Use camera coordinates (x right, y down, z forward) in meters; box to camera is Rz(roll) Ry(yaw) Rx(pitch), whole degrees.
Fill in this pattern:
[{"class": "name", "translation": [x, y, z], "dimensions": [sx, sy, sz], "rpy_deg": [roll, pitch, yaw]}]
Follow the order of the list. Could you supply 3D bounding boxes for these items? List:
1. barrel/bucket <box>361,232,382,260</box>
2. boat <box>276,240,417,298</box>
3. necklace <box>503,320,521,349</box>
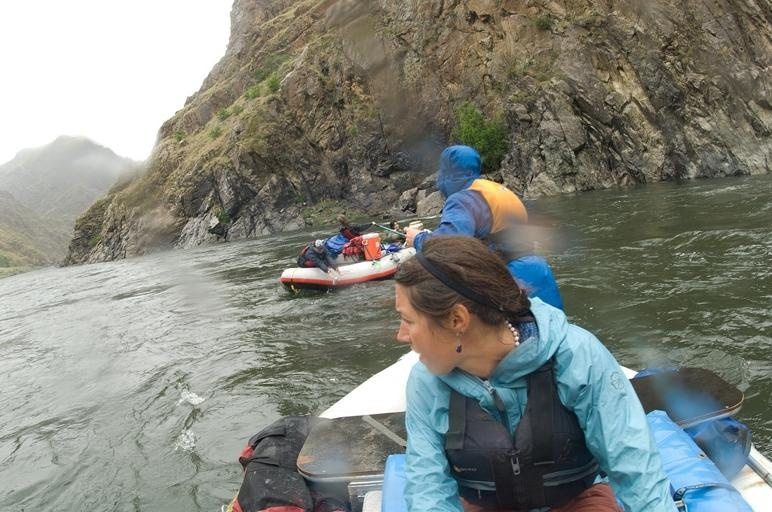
[{"class": "barrel/bucket", "translation": [-0.415, -0.252, 17.050], "dimensions": [0.537, 0.795, 0.660], "rpy_deg": [-6, -17, -21]}, {"class": "boat", "translation": [-1.083, 0.537, 16.329], "dimensions": [2.708, 0.513, 1.597], "rpy_deg": [-10, -4, -19]}, {"class": "necklace", "translation": [1.670, 1.045, 7.615], "dimensions": [0.244, 0.296, 0.101], "rpy_deg": [10, -22, -20]}]
